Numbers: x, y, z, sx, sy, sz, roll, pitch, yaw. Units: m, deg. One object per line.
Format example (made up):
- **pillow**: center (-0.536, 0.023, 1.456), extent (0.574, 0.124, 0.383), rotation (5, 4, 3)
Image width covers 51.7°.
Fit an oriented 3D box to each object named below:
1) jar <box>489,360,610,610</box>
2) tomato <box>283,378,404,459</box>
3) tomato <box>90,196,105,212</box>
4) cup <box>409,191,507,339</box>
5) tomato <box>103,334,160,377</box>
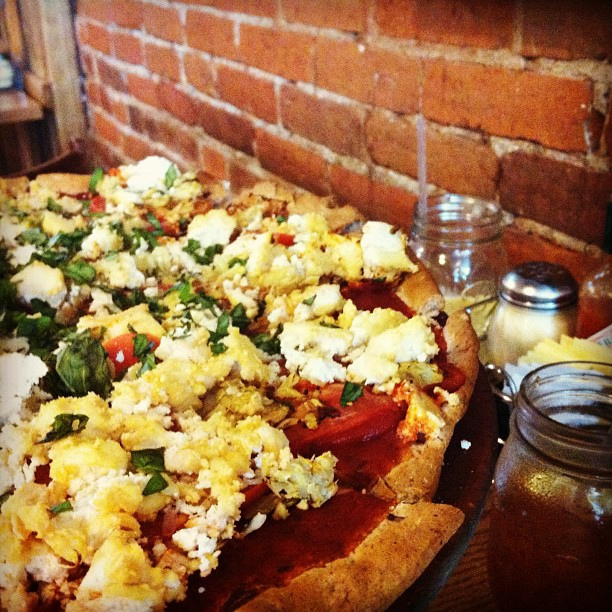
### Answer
- **jar**: center (0.209, 0.156, 0.532), extent (0.096, 0.201, 0.130), rotation (8, 24, 17)
- **tomato**: center (0.022, 0.097, 0.590), extent (0.109, 0.032, 0.087), rotation (-9, 24, -24)
- **tomato**: center (-0.293, -0.142, 0.887), extent (0.019, 0.012, 0.023), rotation (34, 54, 28)
- **cup**: center (0.198, -0.052, 0.846), extent (0.132, 0.180, 0.116), rotation (-20, 37, -18)
- **tomato**: center (-0.169, 0.043, 0.637), extent (0.049, 0.026, 0.037), rotation (-33, 40, -21)
